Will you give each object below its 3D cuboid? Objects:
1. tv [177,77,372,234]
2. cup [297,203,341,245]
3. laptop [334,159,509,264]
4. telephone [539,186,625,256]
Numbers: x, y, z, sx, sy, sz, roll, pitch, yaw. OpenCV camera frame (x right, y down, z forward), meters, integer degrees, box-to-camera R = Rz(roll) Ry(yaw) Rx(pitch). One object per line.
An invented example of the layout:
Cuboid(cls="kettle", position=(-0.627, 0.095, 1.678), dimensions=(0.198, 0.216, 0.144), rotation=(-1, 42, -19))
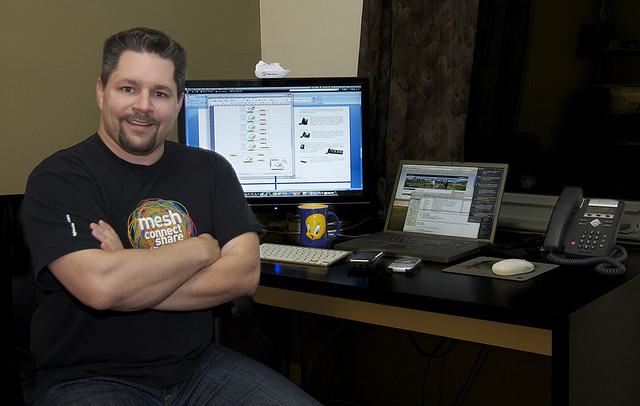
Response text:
Cuboid(cls="tv", position=(-0.187, -0.233, 1.958), dimensions=(0.870, 0.596, 0.236), rotation=(2, 12, 15))
Cuboid(cls="cup", position=(-0.004, 0.100, 1.841), dimensions=(0.192, 0.169, 0.124), rotation=(2, 6, -6))
Cuboid(cls="laptop", position=(0.374, 0.021, 1.752), dimensions=(0.587, 0.284, 0.573), rotation=(-9, 9, -27))
Cuboid(cls="telephone", position=(0.917, 0.066, 1.594), dimensions=(0.212, 0.088, 0.271), rotation=(4, 48, 46))
